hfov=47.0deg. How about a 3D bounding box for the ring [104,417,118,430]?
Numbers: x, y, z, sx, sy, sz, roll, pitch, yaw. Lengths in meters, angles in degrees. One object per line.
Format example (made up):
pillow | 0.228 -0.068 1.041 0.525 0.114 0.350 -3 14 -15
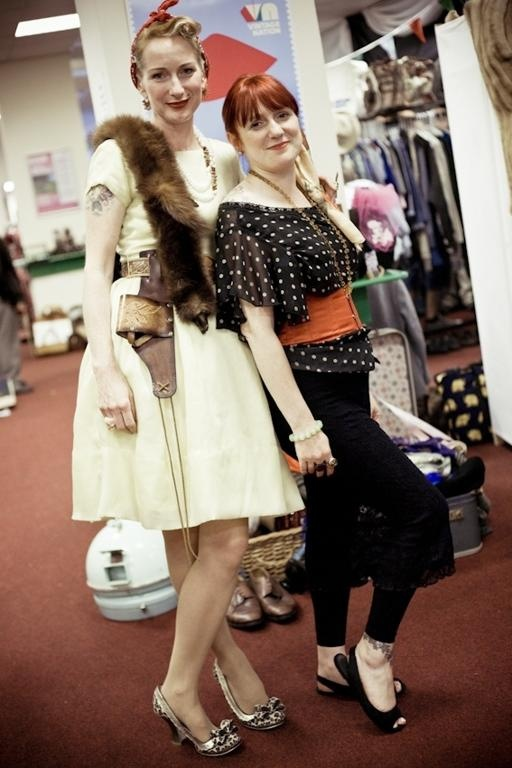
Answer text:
ring | -0.260 0.076 1.060 0.020 0.026 0.009 2 22 24

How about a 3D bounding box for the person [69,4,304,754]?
person | -0.170 0.046 1.170 0.448 1.419 0.325 -10 0 5

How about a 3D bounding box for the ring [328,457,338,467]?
ring | 0.146 0.149 1.131 0.012 0.021 0.017 5 34 2

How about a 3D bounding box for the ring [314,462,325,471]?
ring | 0.122 0.158 1.114 0.016 0.008 0.022 0 22 -5

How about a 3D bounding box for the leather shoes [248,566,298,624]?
leather shoes | 0.048 0.693 1.954 0.104 0.090 0.275 -4 10 -23

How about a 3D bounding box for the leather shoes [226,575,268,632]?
leather shoes | -0.036 0.713 1.929 0.102 0.107 0.291 -3 -1 -7

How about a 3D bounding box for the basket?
basket | 0.057 0.621 2.160 0.207 0.089 0.159 3 -33 -31
